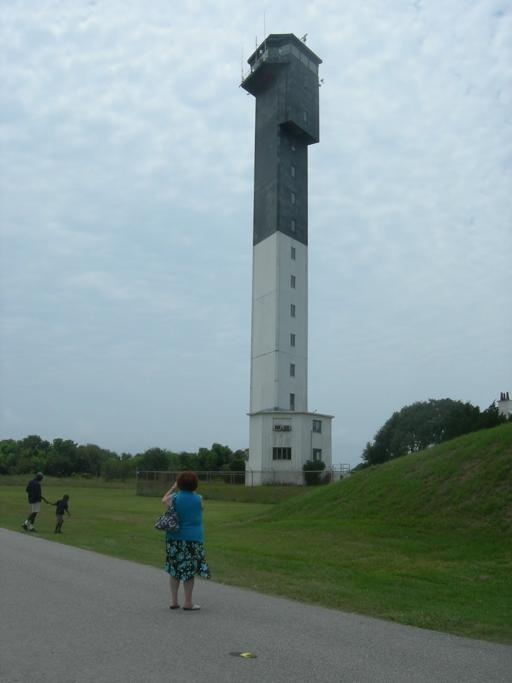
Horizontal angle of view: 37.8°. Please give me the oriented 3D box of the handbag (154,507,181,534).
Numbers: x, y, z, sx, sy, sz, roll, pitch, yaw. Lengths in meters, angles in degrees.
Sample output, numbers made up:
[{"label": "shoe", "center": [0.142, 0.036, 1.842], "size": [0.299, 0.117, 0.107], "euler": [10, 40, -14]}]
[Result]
[{"label": "handbag", "center": [-1.073, 2.195, 9.107], "size": [0.264, 0.279, 0.282], "euler": [3, -12, -9]}]

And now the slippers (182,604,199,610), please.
[{"label": "slippers", "center": [-0.785, 3.243, 9.109], "size": [0.195, 0.065, 0.322], "euler": [2, -13, -4]}]

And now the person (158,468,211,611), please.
[{"label": "person", "center": [-0.892, 2.443, 9.160], "size": [0.627, 1.644, 0.410], "euler": [2, -10, -7]}]
